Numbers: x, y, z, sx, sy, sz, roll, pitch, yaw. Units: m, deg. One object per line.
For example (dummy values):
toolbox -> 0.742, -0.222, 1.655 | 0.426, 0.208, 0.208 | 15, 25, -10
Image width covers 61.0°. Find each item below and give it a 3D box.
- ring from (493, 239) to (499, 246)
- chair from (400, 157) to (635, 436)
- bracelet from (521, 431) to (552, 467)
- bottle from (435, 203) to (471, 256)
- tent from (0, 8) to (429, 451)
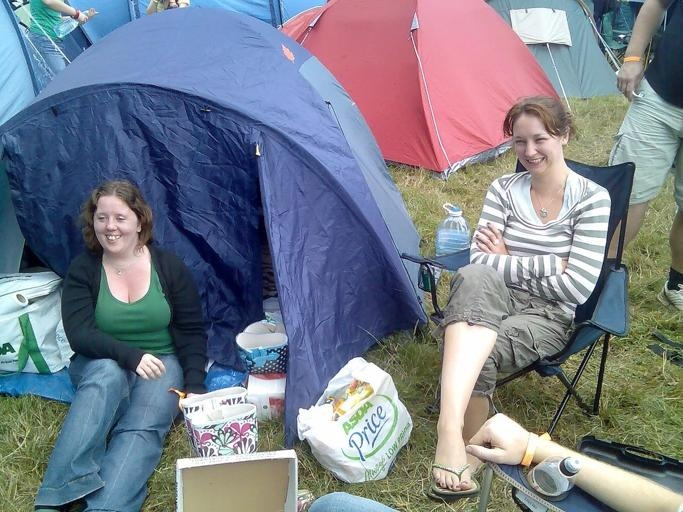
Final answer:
ring -> 0.790, -0.062, 2.959 | 0.025, 0.037, 0.012 | 1, -7, -11
chair -> 0.934, 0.256, 2.975 | 0.730, 1.145, 1.082 | -22, 33, -27
bracelet -> 0.599, 0.593, 1.782 | 0.027, 0.114, 0.076 | 11, 20, 29
bottle -> 0.834, -0.184, 4.378 | 0.264, 0.473, 0.264 | -3, 25, 1
tent -> -0.616, -0.189, 3.908 | 2.459, 1.691, 2.124 | 16, 49, 9
